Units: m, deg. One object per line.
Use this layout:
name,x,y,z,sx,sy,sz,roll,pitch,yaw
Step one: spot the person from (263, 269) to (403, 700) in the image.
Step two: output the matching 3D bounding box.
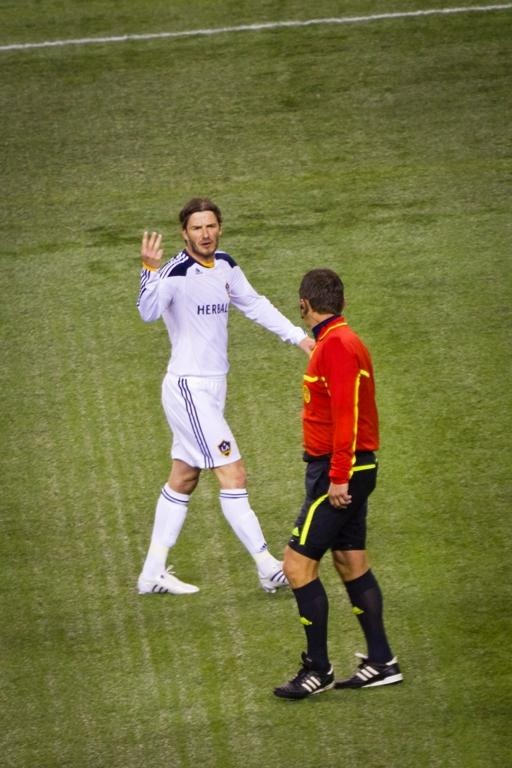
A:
person,0.339,0.438,6.168,0.560,1.893,0.418,-3,8,4

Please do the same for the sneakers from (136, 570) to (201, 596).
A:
sneakers,-0.439,0.995,6.920,0.362,0.139,0.120,0,8,-3

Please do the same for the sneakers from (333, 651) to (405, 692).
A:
sneakers,0.532,1.315,6.265,0.376,0.185,0.120,-1,-5,4
